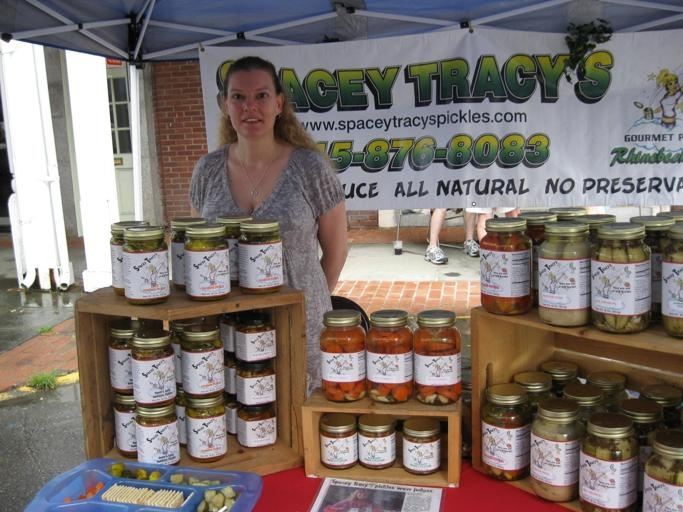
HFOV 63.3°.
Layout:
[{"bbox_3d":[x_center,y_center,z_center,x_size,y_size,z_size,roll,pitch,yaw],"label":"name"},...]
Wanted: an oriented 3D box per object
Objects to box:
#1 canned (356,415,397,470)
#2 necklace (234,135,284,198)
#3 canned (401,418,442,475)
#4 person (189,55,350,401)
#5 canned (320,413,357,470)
[{"bbox_3d":[0.130,0.697,2.145,0.157,0.195,0.125,0,8,12],"label":"canned"},{"bbox_3d":[-0.444,-0.463,2.923,0.392,0.284,0.097,5,0,15],"label":"necklace"},{"bbox_3d":[0.300,0.712,2.066,0.129,0.197,0.066,0,10,17],"label":"canned"},{"bbox_3d":[-0.253,-0.184,3.040,0.901,1.694,0.807,-5,15,-17],"label":"person"},{"bbox_3d":[-0.001,0.711,2.164,0.145,0.178,0.139,0,8,13],"label":"canned"}]
